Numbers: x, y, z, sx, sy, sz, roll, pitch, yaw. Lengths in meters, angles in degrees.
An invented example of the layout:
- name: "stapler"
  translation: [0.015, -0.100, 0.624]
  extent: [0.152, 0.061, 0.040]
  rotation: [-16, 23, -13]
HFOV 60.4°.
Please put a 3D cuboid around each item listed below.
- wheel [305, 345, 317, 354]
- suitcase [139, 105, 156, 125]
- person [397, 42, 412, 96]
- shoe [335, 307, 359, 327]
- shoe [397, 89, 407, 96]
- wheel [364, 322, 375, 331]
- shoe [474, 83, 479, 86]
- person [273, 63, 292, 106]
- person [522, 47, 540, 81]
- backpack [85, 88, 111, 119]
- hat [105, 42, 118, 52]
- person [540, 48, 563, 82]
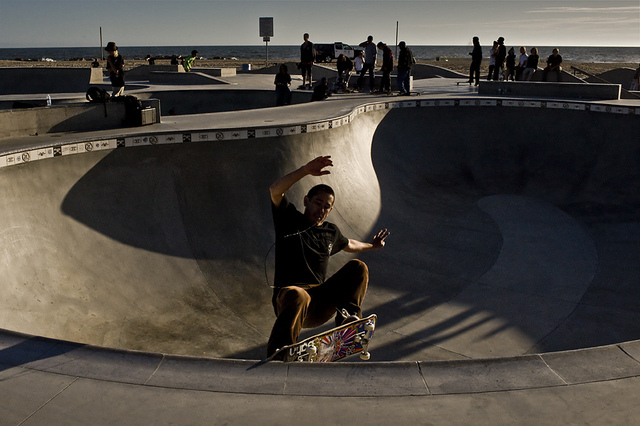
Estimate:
- name: "wheel"
  translation: [-0.101, 1.558, 6.302]
  extent: [0.131, 0.106, 0.090]
  rotation: [1, 17, -4]
- name: "suitcase"
  translation: [-3.682, -1.860, 11.758]
  extent: [0.242, 0.337, 0.443]
  rotation: [3, 17, 4]
- name: "person"
  translation: [2.697, -4.148, 17.459]
  extent: [0.464, 1.549, 0.722]
  rotation: [5, 17, 9]
- name: "shoe"
  translation: [0.323, 1.295, 6.635]
  extent: [0.175, 0.097, 0.246]
  rotation: [8, 17, -43]
- name: "shoe"
  translation: [2.603, -3.508, 17.762]
  extent: [0.314, 0.186, 0.296]
  rotation: [-4, 18, -19]
- name: "wheel"
  translation: [0.590, 1.371, 6.579]
  extent: [0.107, 0.045, 0.077]
  rotation: [16, 39, 9]
- name: "shoe"
  translation: [6.065, -4.530, 21.373]
  extent: [0.109, 0.081, 1.004]
  rotation: [6, 17, 14]
- name: "person"
  translation: [-1.230, -3.803, 18.178]
  extent: [0.495, 1.296, 1.229]
  rotation: [1, 17, -4]
- name: "person"
  translation: [7.589, -4.869, 19.756]
  extent: [0.507, 1.110, 1.898]
  rotation: [8, 18, 19]
- name: "backpack"
  translation: [-4.704, -2.119, 11.657]
  extent: [0.441, 0.529, 0.709]
  rotation: [-5, 18, -23]
- name: "hat"
  translation: [-5.035, -3.630, 13.212]
  extent: [0.200, 0.188, 0.305]
  rotation: [-4, 18, -19]
- name: "person"
  translation: [8.244, -4.747, 19.414]
  extent: [0.661, 1.117, 1.447]
  rotation: [9, 18, 20]
